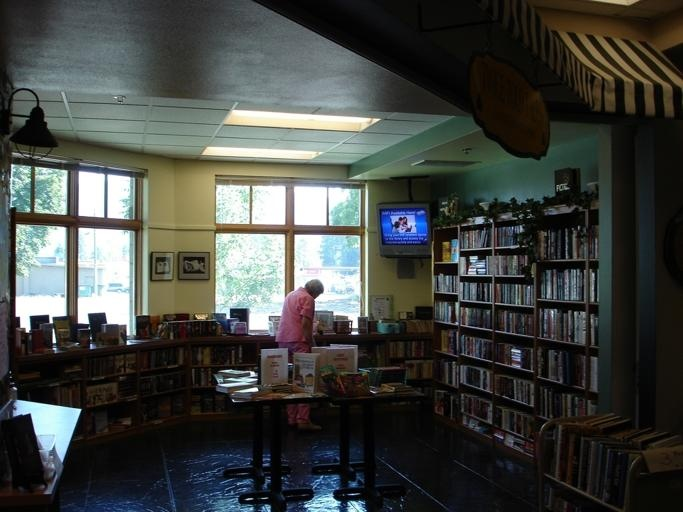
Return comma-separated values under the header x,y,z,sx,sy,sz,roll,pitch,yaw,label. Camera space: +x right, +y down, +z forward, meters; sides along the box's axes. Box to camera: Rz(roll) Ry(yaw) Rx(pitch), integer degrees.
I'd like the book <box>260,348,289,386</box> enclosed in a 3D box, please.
x,y,z,sx,sy,sz,roll,pitch,yaw,label
-0.708,1.166,5.856,0.356,0.443,0.059,2,-8,-22,book

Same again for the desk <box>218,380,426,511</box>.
x,y,z,sx,sy,sz,roll,pitch,yaw,label
-0.150,1.917,5.968,1.816,1.041,1.007,0,0,-11,desk

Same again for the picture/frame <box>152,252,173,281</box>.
x,y,z,sx,sy,sz,roll,pitch,yaw,label
-2.840,0.165,8.874,0.053,0.535,0.429,-3,-3,44,picture/frame

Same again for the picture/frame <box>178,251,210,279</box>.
x,y,z,sx,sy,sz,roll,pitch,yaw,label
-2.428,0.155,9.159,0.429,0.438,0.029,1,-5,-20,picture/frame
